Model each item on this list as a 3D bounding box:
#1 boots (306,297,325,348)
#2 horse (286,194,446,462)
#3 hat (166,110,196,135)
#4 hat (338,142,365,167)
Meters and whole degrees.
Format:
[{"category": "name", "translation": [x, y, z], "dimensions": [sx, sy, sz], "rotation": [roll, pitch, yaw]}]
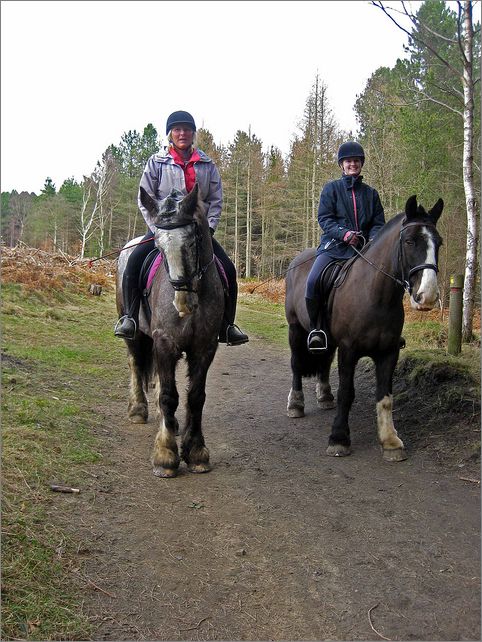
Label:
[{"category": "boots", "translation": [0.856, 0.027, 6.531], "dimensions": [0.220, 0.575, 0.215], "rotation": [1, 19, 9]}, {"category": "horse", "translation": [1.196, 0.059, 6.212], "dimensions": [0.953, 2.550, 3.011], "rotation": [6, 5, -3]}, {"category": "hat", "translation": [-0.578, -1.919, 5.749], "dimensions": [0.274, 0.192, 0.273], "rotation": [5, 6, -7]}, {"category": "hat", "translation": [1.234, -1.839, 6.504], "dimensions": [0.215, 0.203, 0.267], "rotation": [1, 31, 5]}]
